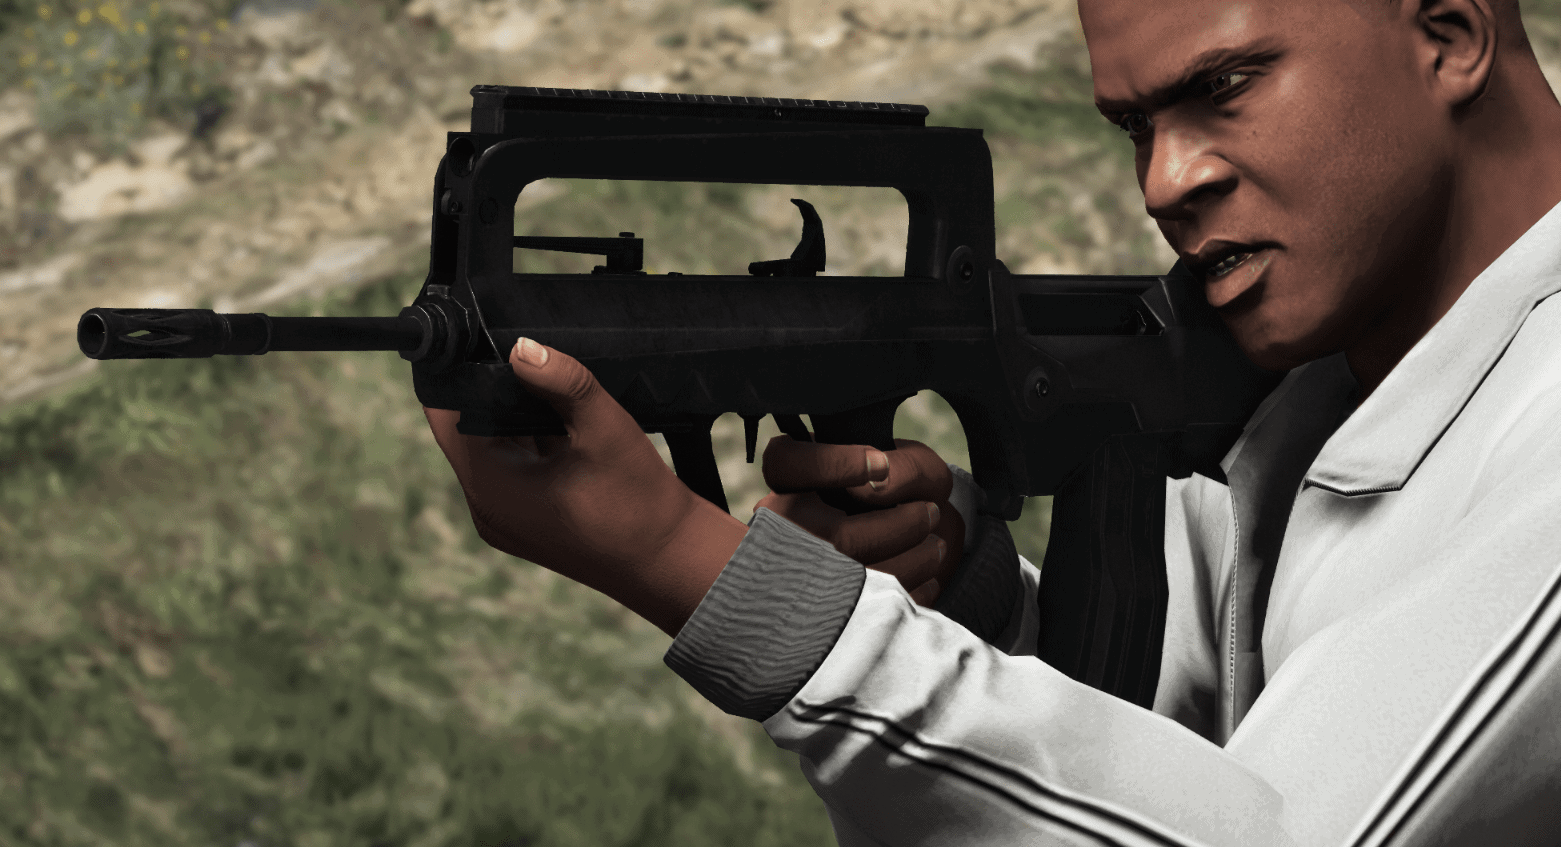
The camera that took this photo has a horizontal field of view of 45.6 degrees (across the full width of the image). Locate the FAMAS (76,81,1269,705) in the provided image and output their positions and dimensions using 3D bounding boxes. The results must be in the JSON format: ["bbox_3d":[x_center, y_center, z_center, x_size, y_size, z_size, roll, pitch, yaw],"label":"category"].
[{"bbox_3d":[-0.067,0.033,3.250,2.061,0.212,1.171,-1,92,-27],"label":"FAMAS"}]
